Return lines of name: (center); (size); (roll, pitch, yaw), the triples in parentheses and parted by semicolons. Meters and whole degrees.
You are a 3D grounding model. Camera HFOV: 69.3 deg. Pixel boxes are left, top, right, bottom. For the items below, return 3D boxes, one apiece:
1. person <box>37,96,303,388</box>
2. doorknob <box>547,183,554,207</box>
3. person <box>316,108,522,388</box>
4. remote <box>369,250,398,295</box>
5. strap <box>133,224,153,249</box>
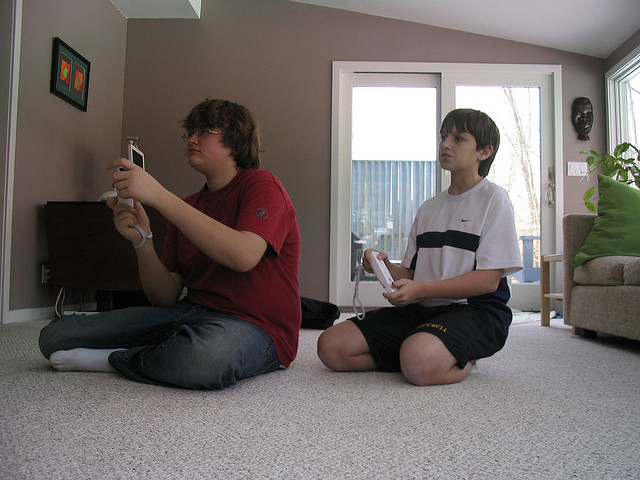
person: (-0.449, -0.033, 1.629); (0.784, 1.016, 0.853); (5, -6, -38)
doorknob: (2.081, -0.406, 4.165); (0.054, 0.214, 0.029); (2, 3, 29)
person: (0.388, -0.010, 1.811); (0.661, 1.078, 0.738); (6, -10, -4)
remote: (0.224, 0.117, 1.680); (0.032, 0.148, 0.070); (-24, -22, 16)
strap: (-0.652, -0.012, 1.677); (0.069, 0.071, 0.018); (-44, -14, 23)
